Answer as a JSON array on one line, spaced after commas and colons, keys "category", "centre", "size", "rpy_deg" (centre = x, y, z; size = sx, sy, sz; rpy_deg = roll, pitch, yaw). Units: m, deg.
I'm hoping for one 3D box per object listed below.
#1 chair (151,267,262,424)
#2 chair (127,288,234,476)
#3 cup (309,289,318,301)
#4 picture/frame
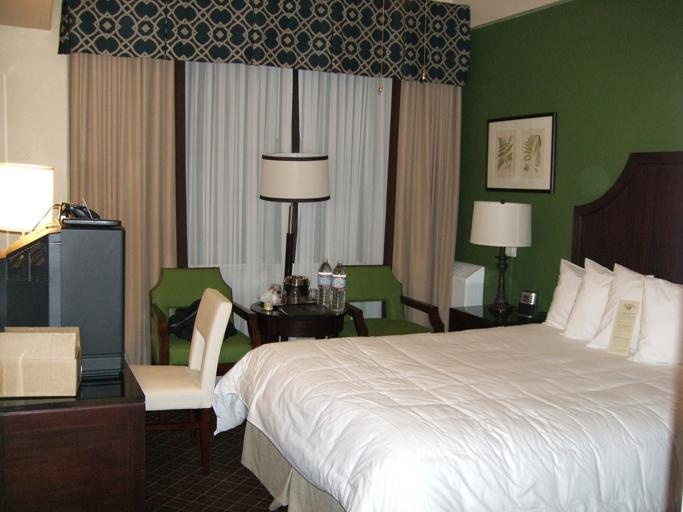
[{"category": "chair", "centre": [-1.216, 0.707, 4.783], "size": [0.802, 1.201, 0.847], "rpy_deg": [1, 3, -29]}, {"category": "chair", "centre": [-1.056, 0.852, 3.723], "size": [0.601, 1.209, 0.543], "rpy_deg": [-4, 14, -26]}, {"category": "cup", "centre": [-0.264, 0.369, 5.206], "size": [0.083, 0.104, 0.085], "rpy_deg": [2, 1, 0]}, {"category": "picture/frame", "centre": [1.709, -0.985, 5.336], "size": [0.778, 0.713, 0.062], "rpy_deg": [-5, 10, -23]}]
